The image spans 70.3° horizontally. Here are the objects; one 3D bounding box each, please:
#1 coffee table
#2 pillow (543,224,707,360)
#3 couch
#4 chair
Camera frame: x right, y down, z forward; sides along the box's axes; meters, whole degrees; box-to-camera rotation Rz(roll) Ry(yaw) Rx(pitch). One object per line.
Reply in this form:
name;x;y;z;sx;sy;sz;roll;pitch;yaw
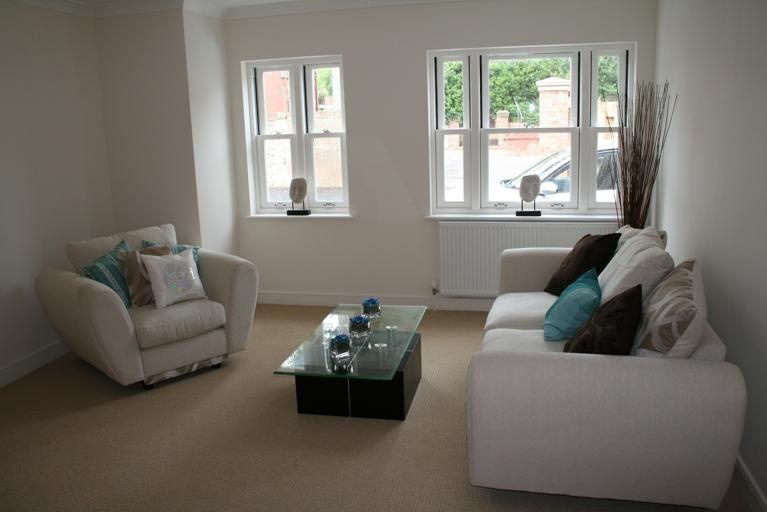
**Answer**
coffee table;-0.183;0.823;4.280;0.877;0.635;1.160;2;15;13
pillow;1.533;0.059;3.294;0.267;0.877;0.901;27;-14;-17
couch;1.269;0.484;3.228;1.014;0.699;1.749;2;18;12
chair;-2.128;0.361;4.941;1.414;1.053;1.490;12;18;36
